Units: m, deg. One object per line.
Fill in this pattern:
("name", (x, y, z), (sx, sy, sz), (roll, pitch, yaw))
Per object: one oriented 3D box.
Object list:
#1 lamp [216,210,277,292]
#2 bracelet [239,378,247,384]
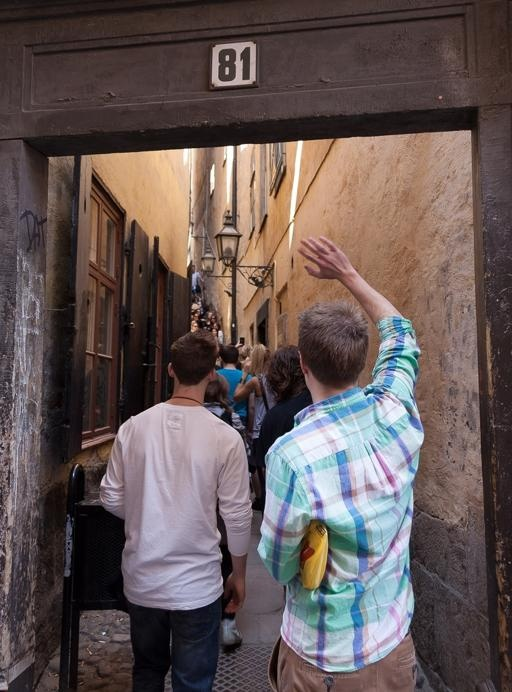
("lamp", (-0.227, -1.518, 10.027), (0.589, 1.404, 0.344), (-5, -15, -7))
("bracelet", (-0.114, 0.317, 5.863), (0.035, 0.062, 0.045), (3, -7, -16))
